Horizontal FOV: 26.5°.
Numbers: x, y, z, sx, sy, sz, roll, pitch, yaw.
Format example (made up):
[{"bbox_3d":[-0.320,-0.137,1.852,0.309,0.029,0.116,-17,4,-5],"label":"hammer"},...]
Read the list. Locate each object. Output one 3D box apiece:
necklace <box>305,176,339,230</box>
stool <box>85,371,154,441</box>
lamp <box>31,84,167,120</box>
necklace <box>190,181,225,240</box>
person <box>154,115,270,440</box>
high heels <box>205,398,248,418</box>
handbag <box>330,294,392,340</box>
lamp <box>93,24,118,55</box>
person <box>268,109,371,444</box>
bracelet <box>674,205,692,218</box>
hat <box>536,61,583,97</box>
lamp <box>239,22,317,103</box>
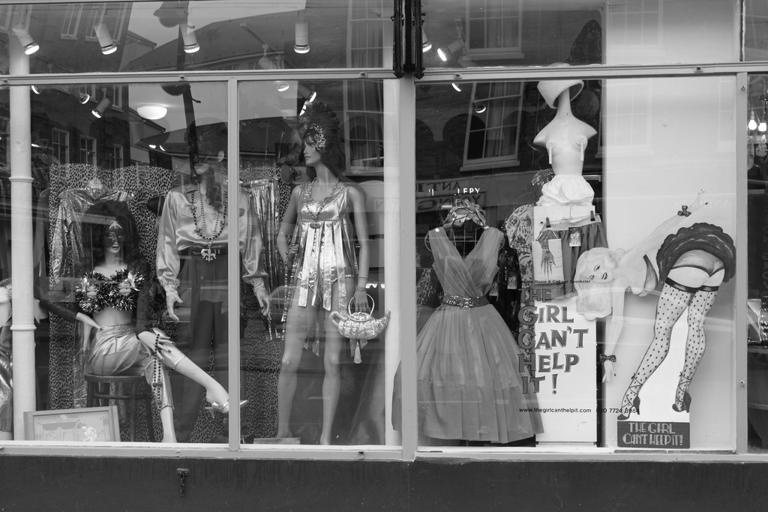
[{"bbox_3d":[-0.450,-0.324,10.919,0.207,0.258,0.067,1,-5,9],"label":"necklace"},{"bbox_3d":[-1.848,1.044,11.156,0.478,0.492,0.471,3,-3,12],"label":"stool"},{"bbox_3d":[-1.898,-1.031,10.999,0.909,0.212,0.209,0,-1,9],"label":"lamp"},{"bbox_3d":[-1.191,-0.287,11.042,0.220,0.336,0.064,2,-2,7],"label":"necklace"},{"bbox_3d":[-1.172,0.165,10.949,0.770,2.113,0.239,0,-2,22],"label":"person"},{"bbox_3d":[-1.049,1.017,10.871,0.317,0.078,0.118,-9,-1,16],"label":"high heels"},{"bbox_3d":[-0.072,0.435,10.807,0.517,0.394,0.173,0,-4,5],"label":"handbag"},{"bbox_3d":[-1.838,-1.442,10.790,0.149,0.207,0.040,0,-2,15],"label":"lamp"},{"bbox_3d":[-0.406,0.112,10.849,0.593,2.226,0.163,1,-1,-5],"label":"person"},{"bbox_3d":[1.976,-0.302,10.740,0.086,0.079,0.031,4,0,9],"label":"bracelet"},{"bbox_3d":[1.156,-1.161,10.715,0.247,0.173,0.239,-11,-43,9],"label":"hat"},{"bbox_3d":[-0.690,-1.276,10.753,0.499,0.518,0.135,0,-1,-6],"label":"lamp"}]
